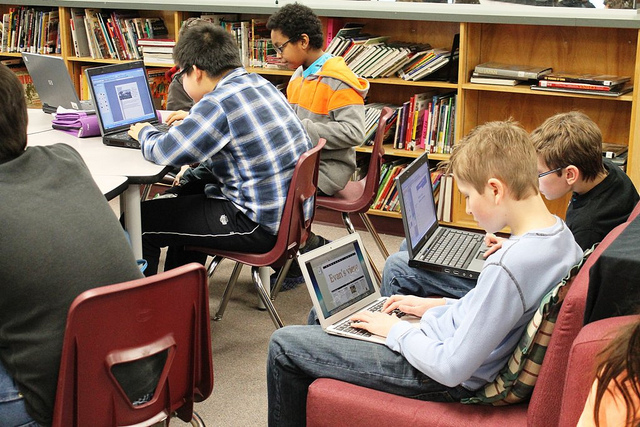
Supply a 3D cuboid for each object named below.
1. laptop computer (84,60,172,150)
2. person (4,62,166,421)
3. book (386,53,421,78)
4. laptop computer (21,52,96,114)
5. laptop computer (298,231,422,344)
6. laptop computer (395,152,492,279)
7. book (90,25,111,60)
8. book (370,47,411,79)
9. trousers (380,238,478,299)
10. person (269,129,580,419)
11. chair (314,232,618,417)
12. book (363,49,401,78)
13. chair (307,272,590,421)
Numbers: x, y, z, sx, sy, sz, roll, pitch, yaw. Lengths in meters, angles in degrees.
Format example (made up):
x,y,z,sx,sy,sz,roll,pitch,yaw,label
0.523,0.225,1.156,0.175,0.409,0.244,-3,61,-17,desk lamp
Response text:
x,y,z,sx,sy,sz,roll,pitch,yaw,label
-0.988,-0.657,2.706,0.507,0.395,0.590,4,23,4,laptop computer
-0.728,0.072,1.341,0.441,0.950,0.473,-6,21,-14,person
0.648,-1.152,3.546,0.165,0.039,0.168,-34,6,0,book
-1.694,-0.874,3.142,0.502,0.348,0.443,15,17,33,laptop computer
0.195,0.283,1.697,0.417,0.274,0.437,-13,17,-40,laptop computer
0.655,0.017,2.127,0.591,0.363,0.593,6,20,6,laptop computer
-2.170,-1.733,4.568,0.058,0.242,0.241,-24,17,-23,book
0.542,-1.155,3.522,0.196,0.047,0.191,-36,10,7,book
0.482,0.249,2.055,0.363,0.117,0.220,3,6,11,trousers
0.358,0.130,2.053,1.184,1.367,0.776,8,12,18,person
0.408,0.329,1.472,0.699,0.416,0.644,7,17,11,chair
0.479,-1.165,3.547,0.189,0.044,0.185,-38,0,2,book
0.378,0.433,1.432,0.600,0.435,0.572,9,7,16,chair
